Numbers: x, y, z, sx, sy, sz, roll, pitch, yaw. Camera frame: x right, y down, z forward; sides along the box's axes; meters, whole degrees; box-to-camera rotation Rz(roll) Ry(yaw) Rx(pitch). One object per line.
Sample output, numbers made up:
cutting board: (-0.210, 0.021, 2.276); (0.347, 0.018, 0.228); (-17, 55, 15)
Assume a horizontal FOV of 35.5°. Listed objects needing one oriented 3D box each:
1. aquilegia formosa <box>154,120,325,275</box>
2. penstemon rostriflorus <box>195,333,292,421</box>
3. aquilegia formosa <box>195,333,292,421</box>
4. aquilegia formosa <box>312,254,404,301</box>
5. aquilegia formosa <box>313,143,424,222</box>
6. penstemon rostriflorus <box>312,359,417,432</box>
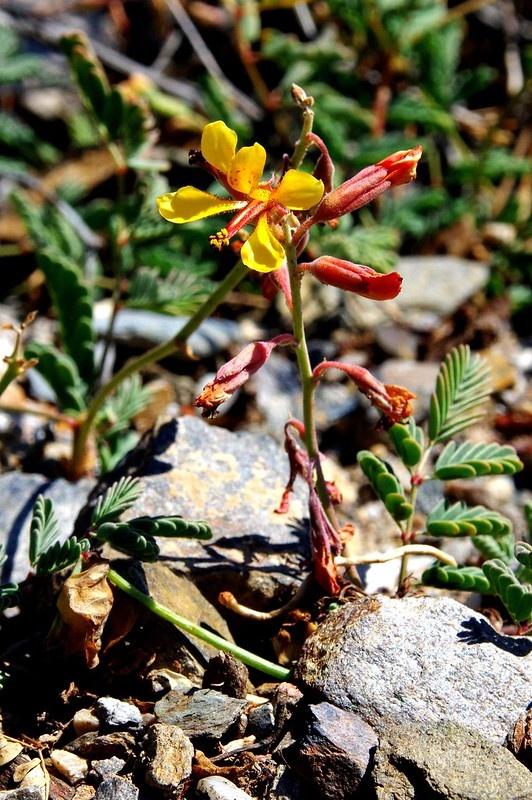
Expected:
aquilegia formosa: (-0.063, -0.524, 2.132); (0.377, 0.341, 0.274); (20, 32, 33)
penstemon rostriflorus: (-0.098, -0.084, 3.520); (0.607, 0.189, 0.128); (-40, 10, -30)
aquilegia formosa: (-0.098, -0.084, 3.520); (0.607, 0.189, 0.128); (-40, 10, -30)
aquilegia formosa: (0.252, -0.318, 2.239); (0.318, 0.091, 0.100); (14, -12, 24)
aquilegia formosa: (0.279, -0.591, 2.305); (0.140, 0.200, 0.328); (25, 34, 38)
penstemon rostriflorus: (0.275, -0.041, 2.395); (0.282, 0.149, 0.154); (36, 32, 12)
